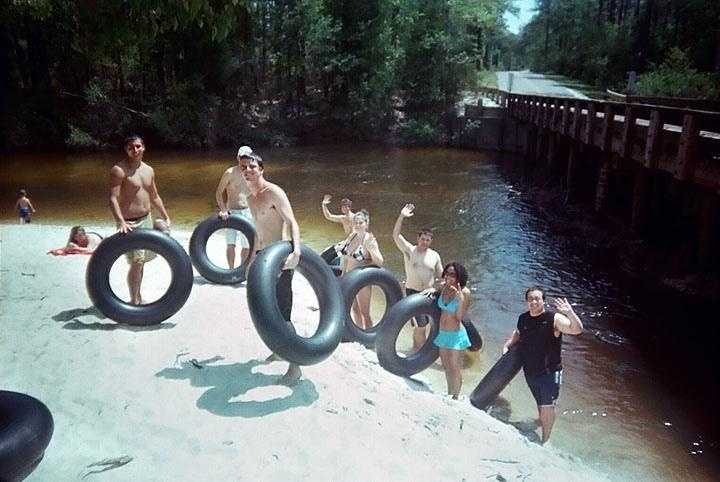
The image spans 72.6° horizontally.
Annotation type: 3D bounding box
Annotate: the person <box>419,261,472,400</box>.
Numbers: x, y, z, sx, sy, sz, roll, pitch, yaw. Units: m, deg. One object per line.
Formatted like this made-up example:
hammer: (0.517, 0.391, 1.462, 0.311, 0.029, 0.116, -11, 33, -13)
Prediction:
person: (1.483, 1.372, 7.972, 0.491, 2.259, 0.924, -5, 21, -14)

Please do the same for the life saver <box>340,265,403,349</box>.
life saver: (0.077, 1.016, 8.610, 1.218, 1.315, 0.383, 5, -1, -25)

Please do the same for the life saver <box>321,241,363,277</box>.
life saver: (-0.352, 0.217, 9.613, 0.561, 0.688, 0.733, -8, 21, -24)

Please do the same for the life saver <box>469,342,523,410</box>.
life saver: (2.102, 1.899, 7.843, 0.370, 1.686, 0.388, 9, 39, 2)

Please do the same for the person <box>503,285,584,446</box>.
person: (2.775, 1.718, 7.491, 0.532, 2.256, 0.948, -9, 22, -24)
